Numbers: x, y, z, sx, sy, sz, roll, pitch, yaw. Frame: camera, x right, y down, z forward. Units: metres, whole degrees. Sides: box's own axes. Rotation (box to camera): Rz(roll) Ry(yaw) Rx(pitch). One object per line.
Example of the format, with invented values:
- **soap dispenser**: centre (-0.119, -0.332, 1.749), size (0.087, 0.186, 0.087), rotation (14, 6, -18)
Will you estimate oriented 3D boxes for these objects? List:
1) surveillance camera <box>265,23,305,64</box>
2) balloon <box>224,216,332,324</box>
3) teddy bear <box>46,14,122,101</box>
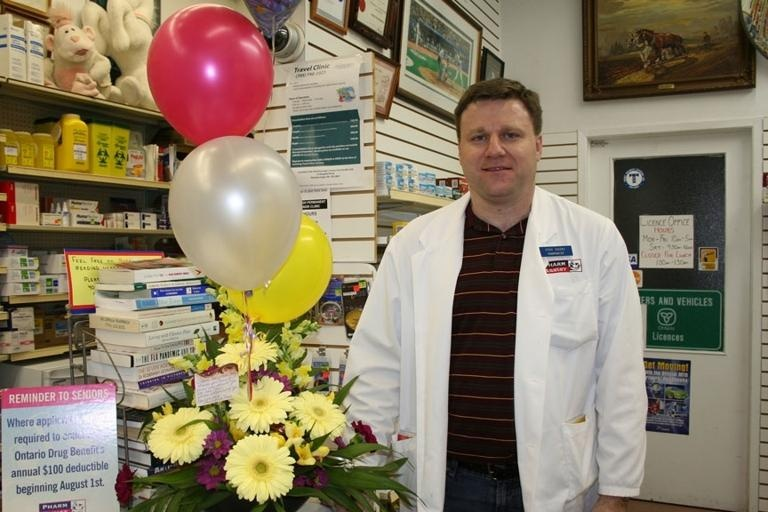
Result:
- **surveillance camera**: centre (-0.534, -1.185, 3.012), size (0.193, 0.196, 0.065), rotation (4, 15, 28)
- **balloon**: centre (-0.406, 0.022, 2.383), size (0.443, 0.451, 0.293), rotation (-15, -4, 26)
- **teddy bear**: centre (-2.141, -1.478, 3.853), size (0.443, 0.667, 0.310), rotation (1, 0, -27)
